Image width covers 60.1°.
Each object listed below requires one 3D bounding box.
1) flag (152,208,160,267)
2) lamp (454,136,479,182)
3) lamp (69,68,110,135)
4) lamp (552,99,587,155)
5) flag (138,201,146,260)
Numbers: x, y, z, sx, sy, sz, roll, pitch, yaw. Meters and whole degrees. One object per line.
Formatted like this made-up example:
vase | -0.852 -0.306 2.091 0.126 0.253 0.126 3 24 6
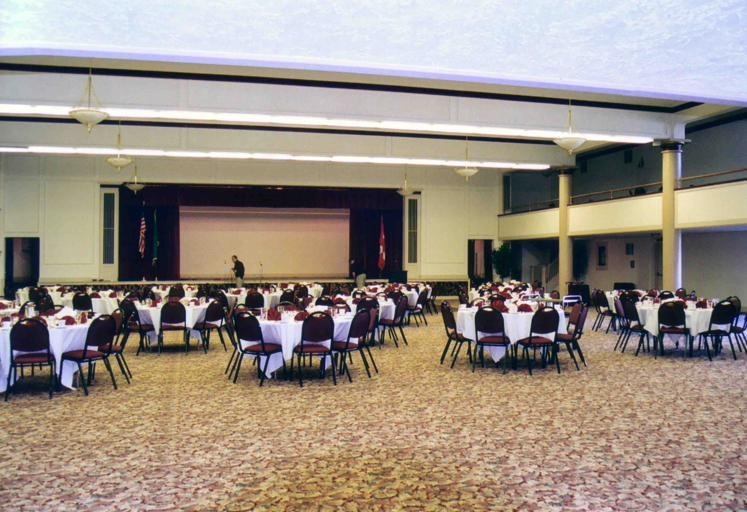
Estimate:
flag | -7.125 -0.568 20.904 0.269 1.823 0.925 -4 10 -18
lamp | 2.508 -2.519 17.382 0.501 1.105 0.511 -8 -20 34
lamp | -4.651 -2.547 10.503 0.599 0.950 0.618 1 6 -22
lamp | 4.531 -3.001 14.860 0.545 1.174 5.457 3 10 17
flag | -7.433 -0.742 20.530 0.281 1.784 0.989 -4 11 -20
